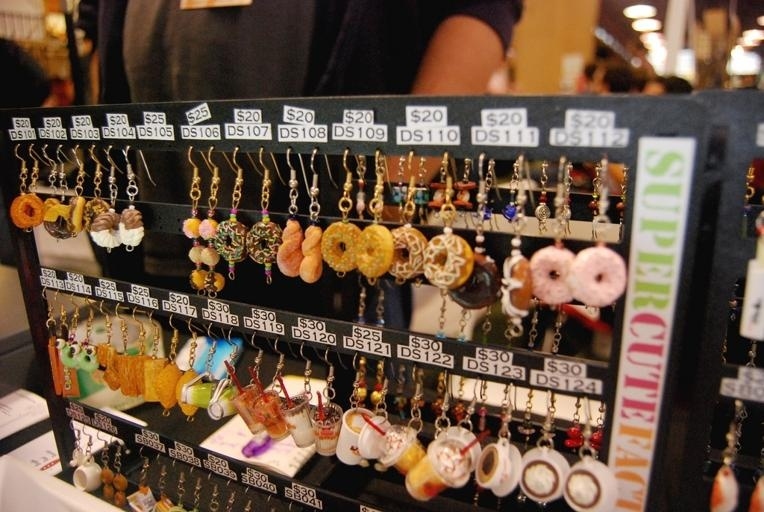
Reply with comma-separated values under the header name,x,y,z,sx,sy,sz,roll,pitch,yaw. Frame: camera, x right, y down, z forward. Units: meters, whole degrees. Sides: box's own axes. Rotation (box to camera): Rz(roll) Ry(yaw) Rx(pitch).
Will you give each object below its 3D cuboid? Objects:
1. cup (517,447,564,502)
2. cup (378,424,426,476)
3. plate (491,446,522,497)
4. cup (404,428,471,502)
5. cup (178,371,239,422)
name,x,y,z,sx,sy,sz,roll,pitch,yaw
cup,0.548,0.743,2.116,0.144,0.193,0.082,-3,-13,18
cup,0.065,0.699,2.329,0.144,0.162,0.166,43,-5,-13
plate,0.438,0.755,2.173,0.092,0.204,0.080,5,8,4
cup,0.198,0.754,2.229,0.137,0.298,0.170,43,21,7
cup,-0.685,0.552,2.453,0.237,0.148,0.074,7,8,14
